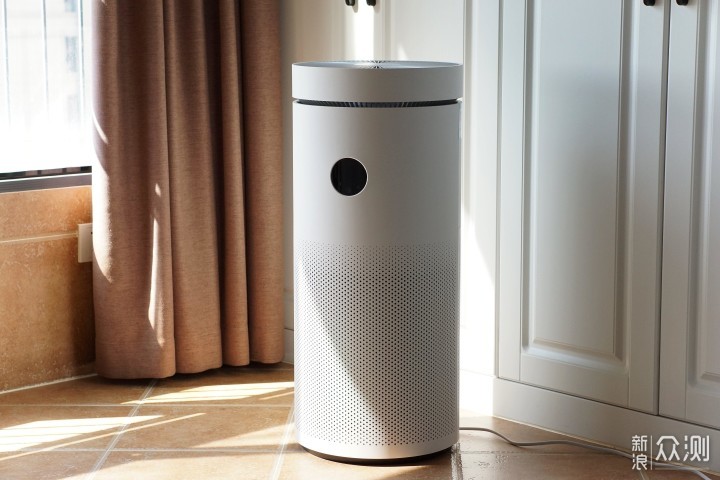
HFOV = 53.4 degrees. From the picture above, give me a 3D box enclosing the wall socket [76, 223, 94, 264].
[{"bbox_3d":[-1.116,0.018,2.917,0.099,0.018,0.173,9,-73,23],"label":"wall socket"}]
